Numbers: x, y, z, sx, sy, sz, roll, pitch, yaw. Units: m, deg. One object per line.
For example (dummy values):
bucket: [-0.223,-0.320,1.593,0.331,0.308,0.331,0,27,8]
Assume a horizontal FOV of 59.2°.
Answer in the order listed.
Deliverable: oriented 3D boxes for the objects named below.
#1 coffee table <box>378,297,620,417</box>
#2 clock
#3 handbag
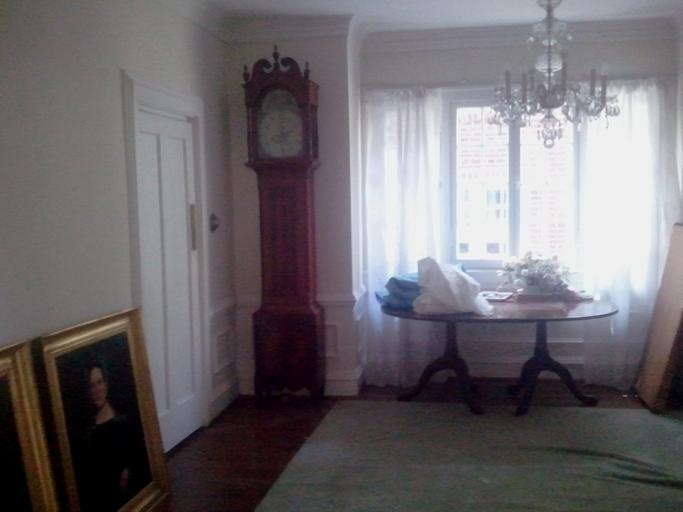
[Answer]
coffee table: [1.193,0.635,4.321,1.185,0.473,1.020,0,5,23]
clock: [-0.458,-1.043,4.347,0.475,0.820,0.180,0,13,7]
handbag: [0.728,0.259,4.251,0.557,0.373,0.348,2,-10,-17]
